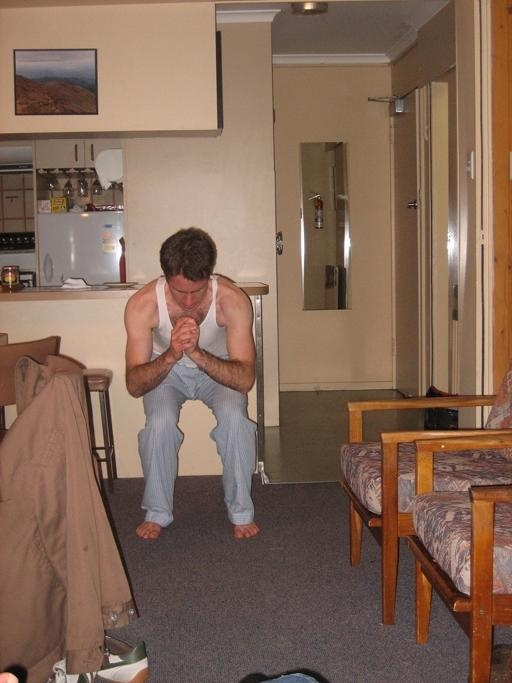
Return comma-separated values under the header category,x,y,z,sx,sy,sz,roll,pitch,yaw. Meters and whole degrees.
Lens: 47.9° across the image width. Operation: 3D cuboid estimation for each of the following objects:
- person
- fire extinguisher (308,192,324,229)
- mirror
category,x,y,z,sx,sy,sz,roll,pitch,yaw
person,-0.255,0.149,2.243,0.525,1.161,0.545,0,2,-2
fire extinguisher,0.550,-1.154,5.117,0.124,0.307,0.049,0,1,6
mirror,0.630,-1.023,5.148,0.422,1.463,0.186,0,1,4
